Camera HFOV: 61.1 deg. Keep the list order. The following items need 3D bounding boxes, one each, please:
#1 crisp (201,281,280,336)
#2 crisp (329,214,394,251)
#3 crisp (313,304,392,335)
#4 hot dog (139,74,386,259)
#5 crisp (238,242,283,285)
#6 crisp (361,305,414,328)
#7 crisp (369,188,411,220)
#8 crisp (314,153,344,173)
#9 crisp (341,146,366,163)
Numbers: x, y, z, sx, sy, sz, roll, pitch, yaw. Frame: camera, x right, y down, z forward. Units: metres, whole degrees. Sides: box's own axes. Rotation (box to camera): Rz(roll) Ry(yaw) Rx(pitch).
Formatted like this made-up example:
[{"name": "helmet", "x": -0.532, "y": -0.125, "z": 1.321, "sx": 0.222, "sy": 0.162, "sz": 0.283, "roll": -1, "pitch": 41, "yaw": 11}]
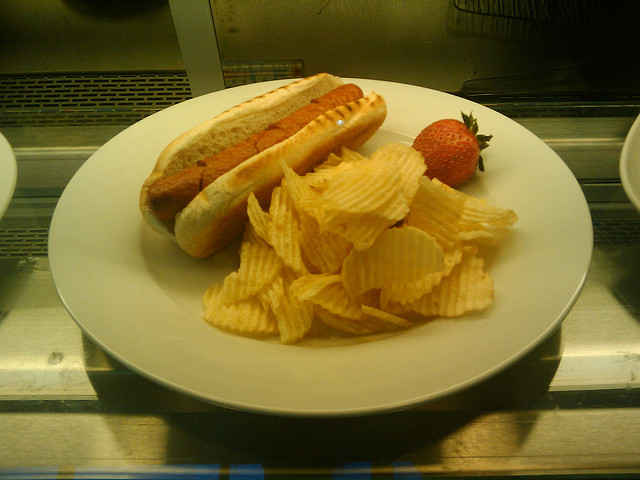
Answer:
[{"name": "crisp", "x": -0.182, "y": 0.151, "z": 1.167, "sx": 0.134, "sy": 0.028, "sz": 0.091, "roll": 9, "pitch": 54, "yaw": -12}, {"name": "crisp", "x": 0.090, "y": -0.027, "z": 1.197, "sx": 0.093, "sy": 0.060, "sz": 0.097, "roll": 38, "pitch": 62, "yaw": 26}, {"name": "crisp", "x": 0.079, "y": 0.185, "z": 1.197, "sx": 0.123, "sy": 0.024, "sz": 0.084, "roll": 7, "pitch": 20, "yaw": 1}, {"name": "hot dog", "x": -0.109, "y": -0.237, "z": 1.543, "sx": 0.808, "sy": 0.246, "sz": 0.304, "roll": -32, "pitch": 68, "yaw": -27}, {"name": "crisp", "x": -0.139, "y": 0.054, "z": 1.226, "sx": 0.107, "sy": 0.071, "sz": 0.117, "roll": -1, "pitch": 21, "yaw": -1}, {"name": "crisp", "x": 0.151, "y": 0.170, "z": 1.199, "sx": 0.081, "sy": 0.012, "sz": 0.022, "roll": 22, "pitch": 26, "yaw": 9}, {"name": "crisp", "x": 0.165, "y": -0.070, "z": 1.184, "sx": 0.052, "sy": 0.017, "sz": 0.100, "roll": 37, "pitch": 61, "yaw": 25}, {"name": "crisp", "x": 0.023, "y": -0.197, "z": 1.395, "sx": 0.055, "sy": 0.018, "sz": 0.054, "roll": -15, "pitch": 18, "yaw": 17}, {"name": "crisp", "x": 0.083, "y": -0.219, "z": 1.392, "sx": 0.059, "sy": 0.023, "sz": 0.039, "roll": 6, "pitch": 53, "yaw": 41}]
